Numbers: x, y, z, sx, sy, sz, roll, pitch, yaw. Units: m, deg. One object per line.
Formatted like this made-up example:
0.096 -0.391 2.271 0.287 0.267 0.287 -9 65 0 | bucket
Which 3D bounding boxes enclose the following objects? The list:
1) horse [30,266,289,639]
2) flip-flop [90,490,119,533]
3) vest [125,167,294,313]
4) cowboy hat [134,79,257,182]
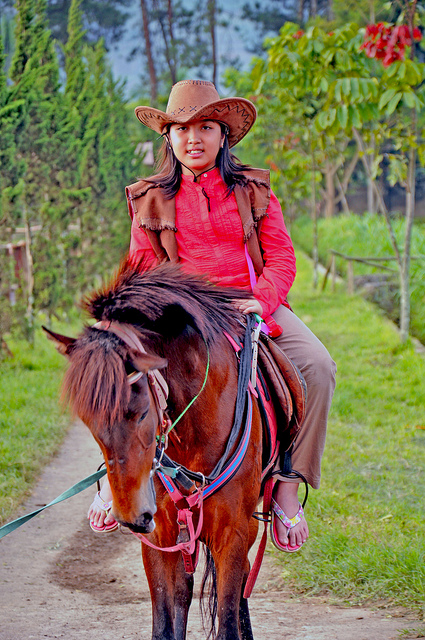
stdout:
-0.114 0.491 3.075 0.516 1.379 1.054 5 16 31 | horse
-0.449 0.856 3.666 0.130 0.093 0.360 13 1 6 | flip-flop
0.069 -0.462 3.910 0.626 0.592 0.430 10 52 24 | vest
-0.074 -0.958 3.862 0.544 0.257 0.578 -2 -10 4 | cowboy hat
